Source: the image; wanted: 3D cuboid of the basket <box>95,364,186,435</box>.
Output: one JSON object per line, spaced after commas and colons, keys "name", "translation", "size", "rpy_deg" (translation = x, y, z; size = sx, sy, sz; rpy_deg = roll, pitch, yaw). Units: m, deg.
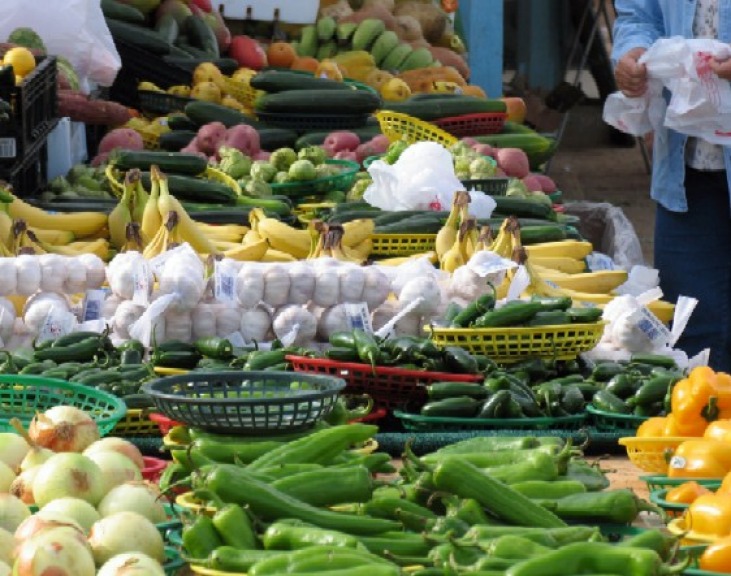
{"name": "basket", "translation": [-0.724, 0.368, 3.104], "size": [0.178, 0.089, 0.258], "rpy_deg": [-6, 17, -17]}
